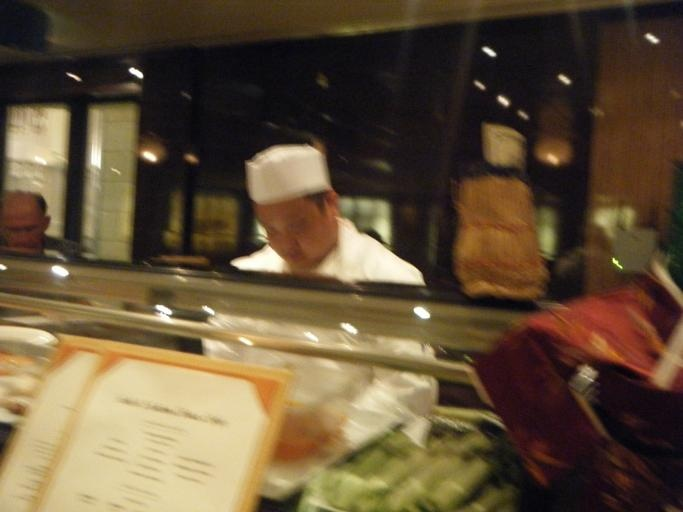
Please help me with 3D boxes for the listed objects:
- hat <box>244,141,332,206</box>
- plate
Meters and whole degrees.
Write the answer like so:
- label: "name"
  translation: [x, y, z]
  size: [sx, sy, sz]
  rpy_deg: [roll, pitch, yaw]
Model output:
- label: "hat"
  translation: [-0.093, -0.165, 1.029]
  size: [0.123, 0.078, 0.119]
  rpy_deg: [-11, 15, -4]
- label: "plate"
  translation: [-0.011, 0.250, 0.770]
  size: [0.126, 0.032, 0.115]
  rpy_deg: [-25, 5, -39]
